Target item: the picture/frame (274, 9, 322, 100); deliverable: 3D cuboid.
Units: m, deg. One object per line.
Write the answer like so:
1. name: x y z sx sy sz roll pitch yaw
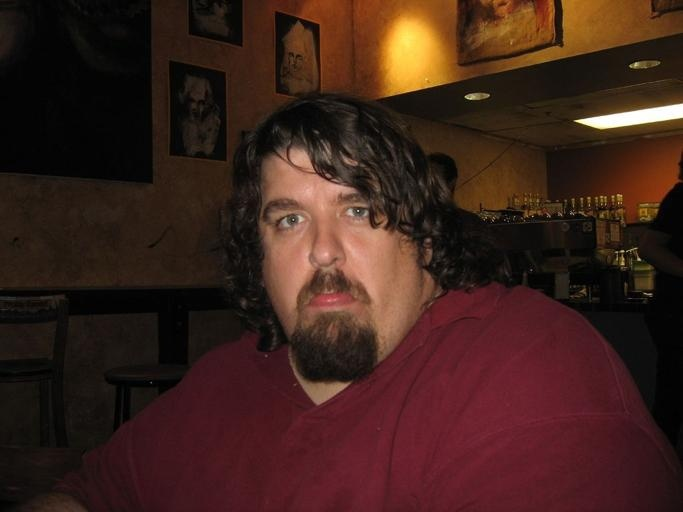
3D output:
1. picture/frame: -0.348 -1.633 5.417 0.077 0.691 0.506 -1 0 38
